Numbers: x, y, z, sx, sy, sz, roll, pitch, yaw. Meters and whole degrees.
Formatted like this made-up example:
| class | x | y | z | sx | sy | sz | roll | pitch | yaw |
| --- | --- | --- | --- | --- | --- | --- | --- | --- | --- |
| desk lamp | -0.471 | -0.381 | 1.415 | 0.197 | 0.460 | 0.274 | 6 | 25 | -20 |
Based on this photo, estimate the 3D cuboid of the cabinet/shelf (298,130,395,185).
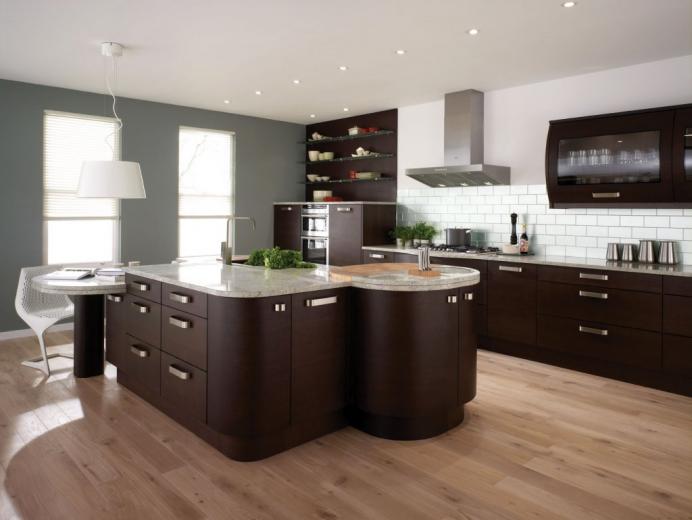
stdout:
| class | x | y | z | sx | sy | sz | roll | pitch | yaw |
| --- | --- | --- | --- | --- | --- | --- | --- | --- | --- |
| cabinet/shelf | -0.012 | -1.563 | 8.012 | 0.561 | 0.801 | 1.781 | -8 | 14 | -35 |

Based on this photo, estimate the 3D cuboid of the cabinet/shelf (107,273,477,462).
| class | x | y | z | sx | sy | sz | roll | pitch | yaw |
| --- | --- | --- | --- | --- | --- | --- | --- | --- | --- |
| cabinet/shelf | -0.501 | 0.617 | 4.118 | 1.413 | 0.714 | 1.939 | -1 | 2 | -39 |

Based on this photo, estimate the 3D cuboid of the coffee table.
| class | x | y | z | sx | sy | sz | roll | pitch | yaw |
| --- | --- | --- | --- | --- | --- | --- | --- | --- | --- |
| coffee table | -2.421 | 0.595 | 4.984 | 0.942 | 0.890 | 0.998 | -1 | 4 | -43 |

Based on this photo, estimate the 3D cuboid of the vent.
| class | x | y | z | sx | sy | sz | roll | pitch | yaw |
| --- | --- | --- | --- | --- | --- | --- | --- | --- | --- |
| vent | 1.445 | -1.536 | 6.498 | 1.141 | 1.129 | 0.584 | 4 | 5 | 44 |

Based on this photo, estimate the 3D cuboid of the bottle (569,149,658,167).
| class | x | y | z | sx | sy | sz | roll | pitch | yaw |
| --- | --- | --- | --- | --- | --- | --- | --- | --- | --- |
| bottle | 2.626 | -1.026 | 5.159 | 0.823 | 0.161 | 0.030 | 9 | 14 | 39 |

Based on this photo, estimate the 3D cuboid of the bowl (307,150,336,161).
| class | x | y | z | sx | sy | sz | roll | pitch | yaw |
| --- | --- | --- | --- | --- | --- | --- | --- | --- | --- |
| bowl | -0.373 | -1.656 | 8.249 | 0.333 | 0.128 | 0.190 | 0 | 2 | 37 |

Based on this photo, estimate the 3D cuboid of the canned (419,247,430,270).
| class | x | y | z | sx | sy | sz | roll | pitch | yaw |
| --- | --- | --- | --- | --- | --- | --- | --- | --- | --- |
| canned | 0.622 | -0.024 | 4.111 | 0.079 | 0.176 | 0.211 | 1 | 11 | 7 |

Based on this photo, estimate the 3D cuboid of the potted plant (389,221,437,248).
| class | x | y | z | sx | sy | sz | roll | pitch | yaw |
| --- | --- | --- | --- | --- | --- | --- | --- | --- | --- |
| potted plant | 0.947 | -0.364 | 6.997 | 0.523 | 0.299 | 0.445 | 8 | 13 | 34 |

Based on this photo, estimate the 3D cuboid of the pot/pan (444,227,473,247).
| class | x | y | z | sx | sy | sz | roll | pitch | yaw |
| --- | --- | --- | --- | --- | --- | --- | --- | --- | --- |
| pot/pan | 1.396 | -0.293 | 6.501 | 0.285 | 0.200 | 0.225 | -1 | -1 | 18 |

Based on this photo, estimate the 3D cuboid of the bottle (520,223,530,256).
| class | x | y | z | sx | sy | sz | roll | pitch | yaw |
| --- | --- | --- | --- | --- | --- | --- | --- | --- | --- |
| bottle | 2.062 | -0.252 | 5.993 | 0.121 | 0.326 | 0.330 | 4 | 12 | 20 |

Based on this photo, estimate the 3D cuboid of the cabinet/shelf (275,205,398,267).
| class | x | y | z | sx | sy | sz | roll | pitch | yaw |
| --- | --- | --- | --- | --- | --- | --- | --- | --- | --- |
| cabinet/shelf | -0.219 | -0.442 | 7.688 | 1.921 | 0.950 | 0.598 | 9 | 14 | 39 |
